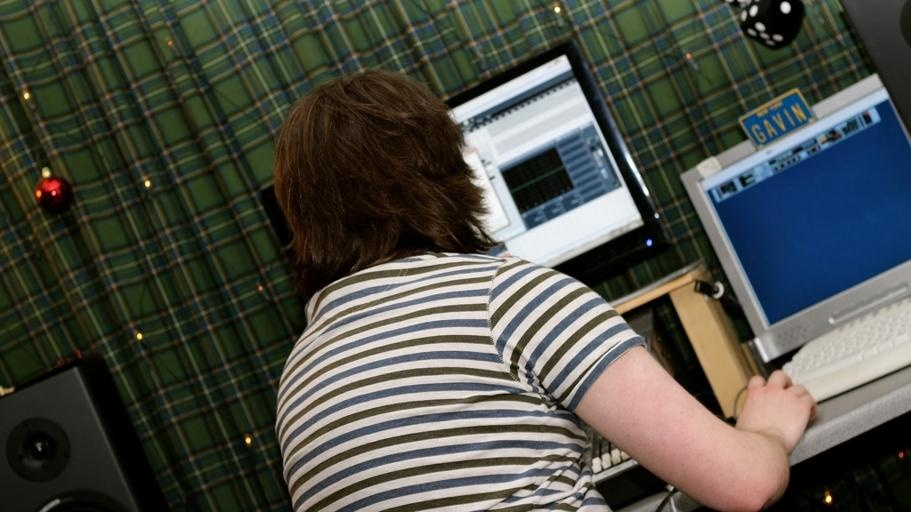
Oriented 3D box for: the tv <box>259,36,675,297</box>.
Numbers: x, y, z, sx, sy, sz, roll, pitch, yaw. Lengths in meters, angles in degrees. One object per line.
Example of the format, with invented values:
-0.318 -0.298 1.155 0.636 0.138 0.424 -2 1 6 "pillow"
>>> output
0.129 -0.283 2.853 0.778 0.561 0.228 -30 -4 8 "tv"
